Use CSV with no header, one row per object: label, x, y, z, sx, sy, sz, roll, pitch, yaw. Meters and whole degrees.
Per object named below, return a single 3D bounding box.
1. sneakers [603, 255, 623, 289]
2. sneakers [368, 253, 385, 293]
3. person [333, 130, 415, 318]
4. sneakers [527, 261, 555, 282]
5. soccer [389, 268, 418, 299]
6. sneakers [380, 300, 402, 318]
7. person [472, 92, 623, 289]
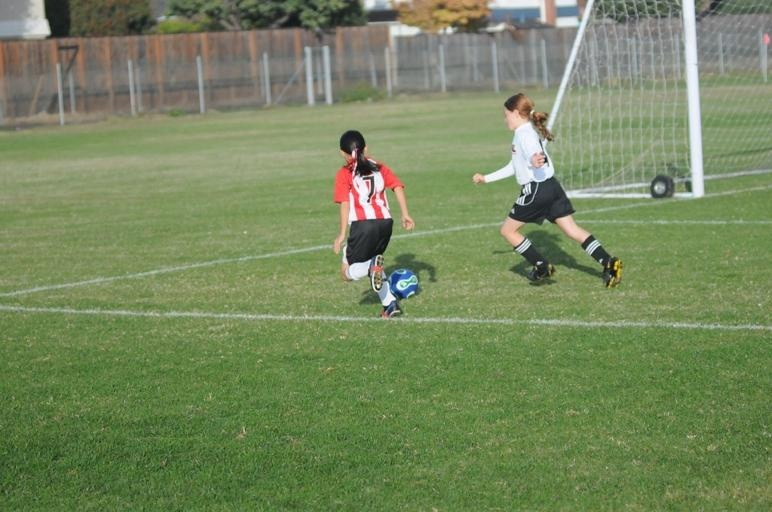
sneakers,2.384,0.175,7.947,0.158,0.338,0.168,-2,16,-17
sneakers,-0.080,0.171,7.400,0.140,0.346,0.158,1,-5,-40
person,-0.155,-0.315,7.571,0.746,1.864,0.705,-4,8,-3
sneakers,1.672,0.187,8.268,0.185,0.168,0.362,16,-13,-19
soccer,0.172,0.287,7.685,0.253,0.283,0.320,-5,-7,-8
sneakers,0.053,0.547,7.586,0.108,0.120,0.245,2,-4,-37
person,1.637,-0.690,7.962,1.284,2.026,0.493,-1,9,15
